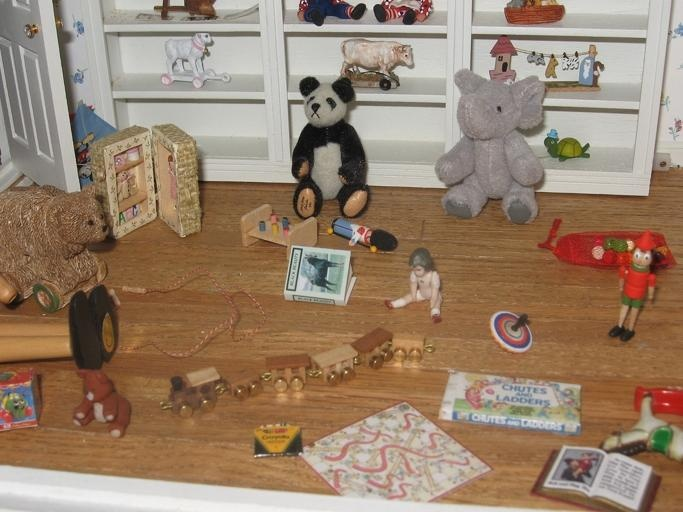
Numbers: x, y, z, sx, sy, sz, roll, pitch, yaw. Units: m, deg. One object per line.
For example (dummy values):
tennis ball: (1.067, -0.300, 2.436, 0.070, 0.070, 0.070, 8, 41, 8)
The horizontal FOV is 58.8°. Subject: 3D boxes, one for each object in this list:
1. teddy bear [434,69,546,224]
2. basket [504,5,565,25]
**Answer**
teddy bear: (0.926, -0.706, 3.874, 0.685, 0.852, 0.550, 2, 29, 23)
basket: (1.230, -1.538, 3.902, 0.284, 0.103, 0.166, 0, 23, -5)
